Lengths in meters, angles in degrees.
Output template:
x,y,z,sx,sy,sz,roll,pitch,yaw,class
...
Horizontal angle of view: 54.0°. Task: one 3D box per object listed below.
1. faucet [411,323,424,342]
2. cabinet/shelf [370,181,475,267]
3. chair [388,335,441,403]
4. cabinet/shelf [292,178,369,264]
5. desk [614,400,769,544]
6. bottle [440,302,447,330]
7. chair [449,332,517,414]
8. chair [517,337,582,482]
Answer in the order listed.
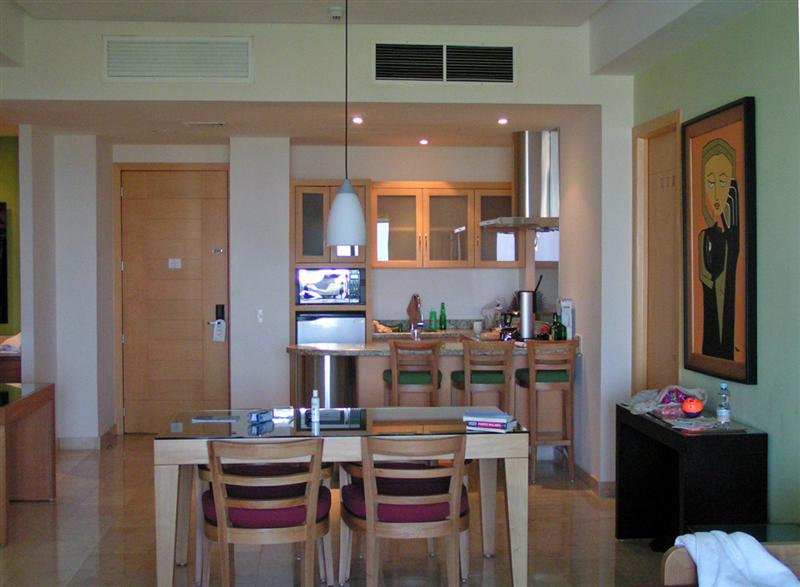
x,y,z,sx,sy,sz,roll,pitch,yaw,class
0.164,0.382,7.891,0.126,0.219,0.128,-5,11,-19,faucet
0.188,-0.709,8.210,0.849,0.648,0.305,0,-3,-3,cabinet/shelf
0.070,0.608,6.578,0.430,0.747,0.539,0,9,-4,chair
-0.687,-0.639,7.127,0.816,0.858,0.294,0,-3,-2,cabinet/shelf
1.894,1.109,5.065,0.392,0.839,0.993,-1,6,-2,desk
0.463,0.250,8.505,0.095,0.283,0.197,1,9,3,bottle
0.685,0.618,6.709,0.636,0.931,0.596,1,7,-4,chair
1.265,0.978,6.837,0.535,1.246,0.666,0,9,-4,chair
